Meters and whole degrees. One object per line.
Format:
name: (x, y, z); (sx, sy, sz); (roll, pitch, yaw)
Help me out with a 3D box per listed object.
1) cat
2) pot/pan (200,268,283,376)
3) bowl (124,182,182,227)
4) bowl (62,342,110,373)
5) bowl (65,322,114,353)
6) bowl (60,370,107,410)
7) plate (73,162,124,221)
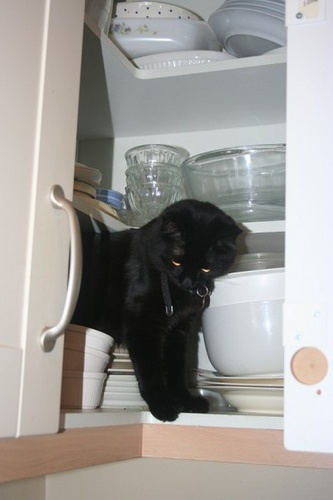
cat: (-0.058, 0.128, 0.960); (0.537, 0.412, 0.189); (-17, -23, 20)
pot/pan: (0.124, 0.135, 0.727); (0.158, 0.125, 0.166); (8, -23, -23)
bowl: (-0.044, -0.112, 1.047); (0.102, 0.073, 0.109); (0, -6, 0)
bowl: (-0.122, 0.157, 0.627); (0.074, 0.029, 0.082); (9, -17, -8)
bowl: (-0.115, 0.133, 0.641); (0.056, 0.019, 0.047); (9, -28, 15)
bowl: (-0.123, 0.204, 0.626); (0.060, 0.038, 0.064); (0, -24, 0)
plate: (-0.124, -0.107, 0.798); (0.095, 0.033, 0.072); (30, -6, -28)
